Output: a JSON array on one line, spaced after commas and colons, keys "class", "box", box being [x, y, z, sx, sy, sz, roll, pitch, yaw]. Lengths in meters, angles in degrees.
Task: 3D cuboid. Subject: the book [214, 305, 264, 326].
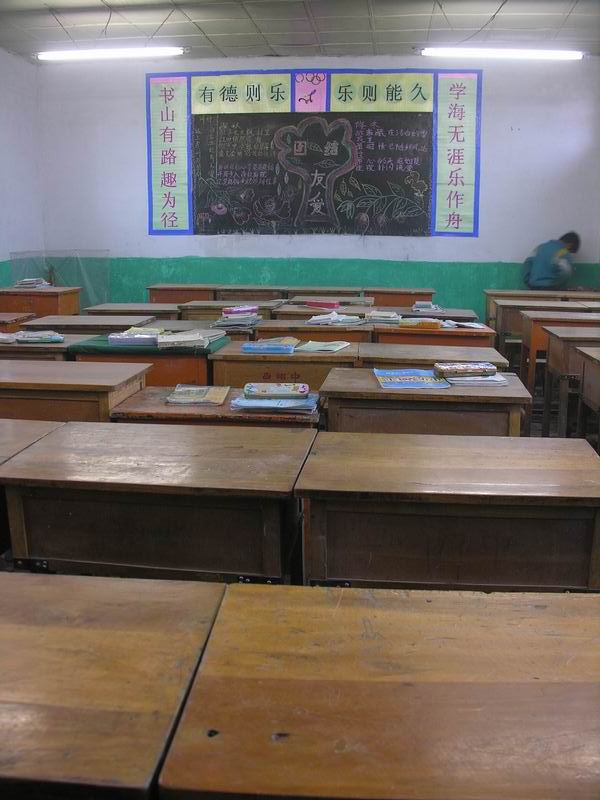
[{"class": "book", "box": [-0.441, -0.603, 4.781, 0.334, 0.125, 0.433, 2, 9, 5]}]
